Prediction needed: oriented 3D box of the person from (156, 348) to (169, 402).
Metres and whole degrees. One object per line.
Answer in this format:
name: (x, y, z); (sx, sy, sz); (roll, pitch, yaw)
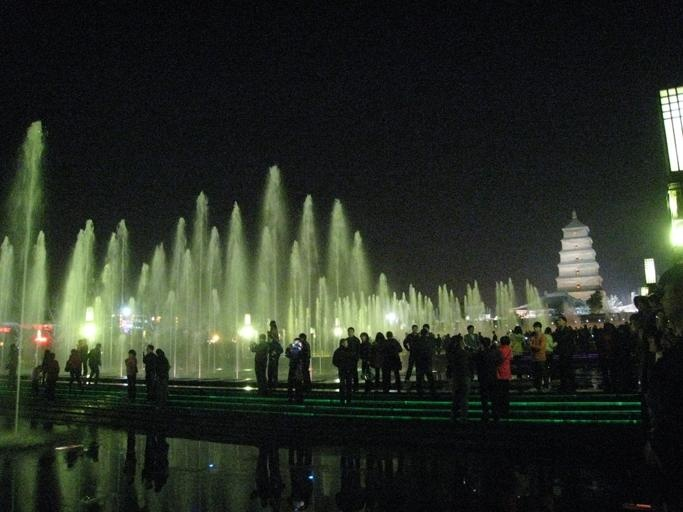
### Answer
person: (-4.520, 3.049, 16.082); (0.323, 1.226, 0.800); (-1, 0, -16)

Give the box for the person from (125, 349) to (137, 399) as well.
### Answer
person: (-5.824, 3.301, 17.592); (0.275, 1.200, 1.348); (-1, 0, -20)
